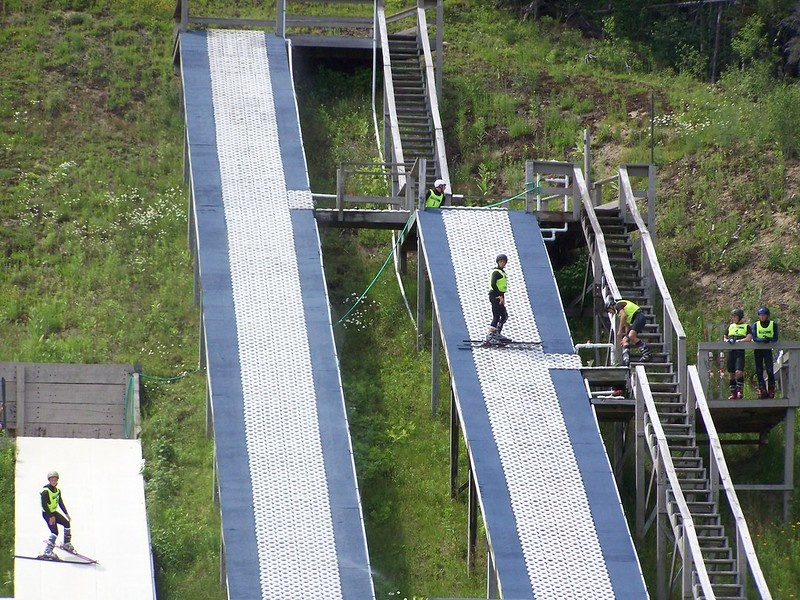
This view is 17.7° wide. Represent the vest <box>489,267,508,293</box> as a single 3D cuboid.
[{"bbox_3d":[2.376,-0.526,62.321,0.436,0.788,0.767,-7,7,5],"label":"vest"}]

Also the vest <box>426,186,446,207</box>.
[{"bbox_3d":[0.911,-2.707,65.317,0.358,0.482,0.265,12,31,-7],"label":"vest"}]

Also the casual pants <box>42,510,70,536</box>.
[{"bbox_3d":[-8.119,5.176,60.528,0.144,0.563,0.518,-19,16,45],"label":"casual pants"}]

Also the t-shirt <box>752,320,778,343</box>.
[{"bbox_3d":[8.770,0.690,61.935,0.751,0.795,0.459,0,2,5],"label":"t-shirt"}]

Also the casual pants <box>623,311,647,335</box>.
[{"bbox_3d":[5.623,0.470,61.564,0.470,0.647,0.336,-1,12,4],"label":"casual pants"}]

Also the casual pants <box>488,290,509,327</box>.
[{"bbox_3d":[2.349,0.196,62.017,0.372,0.947,0.201,-1,11,5],"label":"casual pants"}]

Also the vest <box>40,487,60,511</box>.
[{"bbox_3d":[-8.252,4.653,60.539,0.322,0.596,0.462,-16,-15,36],"label":"vest"}]

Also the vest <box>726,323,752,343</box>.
[{"bbox_3d":[8.152,0.742,61.762,0.372,0.406,0.230,1,-31,34],"label":"vest"}]
